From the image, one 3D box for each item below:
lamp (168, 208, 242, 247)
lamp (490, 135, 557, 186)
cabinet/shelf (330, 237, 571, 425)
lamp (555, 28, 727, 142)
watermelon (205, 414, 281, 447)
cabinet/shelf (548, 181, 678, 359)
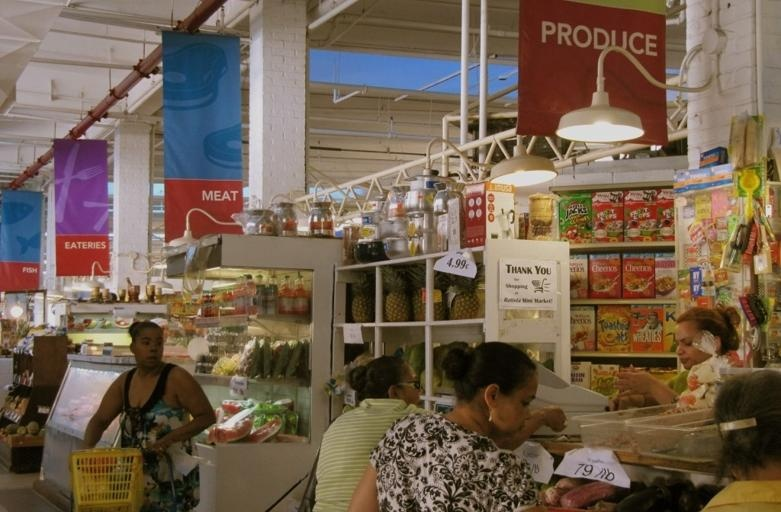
[{"bbox_3d":[-2.321,-0.365,10.629,1.191,0.556,0.444,3,-8,-29],"label":"lamp"},{"bbox_3d":[1.111,-0.815,7.425,0.549,0.312,0.549,-7,-8,14],"label":"lamp"},{"bbox_3d":[0.527,0.562,6.777,0.572,1.401,1.608,4,-7,-31],"label":"cabinet/shelf"},{"bbox_3d":[1.995,-1.320,7.136,1.662,1.005,0.834,2,-4,-18],"label":"lamp"},{"bbox_3d":[-1.359,1.615,8.252,0.581,0.213,0.532,0,1,24],"label":"watermelon"},{"bbox_3d":[2.080,0.111,8.919,0.959,1.717,1.443,3,7,11],"label":"cabinet/shelf"}]
